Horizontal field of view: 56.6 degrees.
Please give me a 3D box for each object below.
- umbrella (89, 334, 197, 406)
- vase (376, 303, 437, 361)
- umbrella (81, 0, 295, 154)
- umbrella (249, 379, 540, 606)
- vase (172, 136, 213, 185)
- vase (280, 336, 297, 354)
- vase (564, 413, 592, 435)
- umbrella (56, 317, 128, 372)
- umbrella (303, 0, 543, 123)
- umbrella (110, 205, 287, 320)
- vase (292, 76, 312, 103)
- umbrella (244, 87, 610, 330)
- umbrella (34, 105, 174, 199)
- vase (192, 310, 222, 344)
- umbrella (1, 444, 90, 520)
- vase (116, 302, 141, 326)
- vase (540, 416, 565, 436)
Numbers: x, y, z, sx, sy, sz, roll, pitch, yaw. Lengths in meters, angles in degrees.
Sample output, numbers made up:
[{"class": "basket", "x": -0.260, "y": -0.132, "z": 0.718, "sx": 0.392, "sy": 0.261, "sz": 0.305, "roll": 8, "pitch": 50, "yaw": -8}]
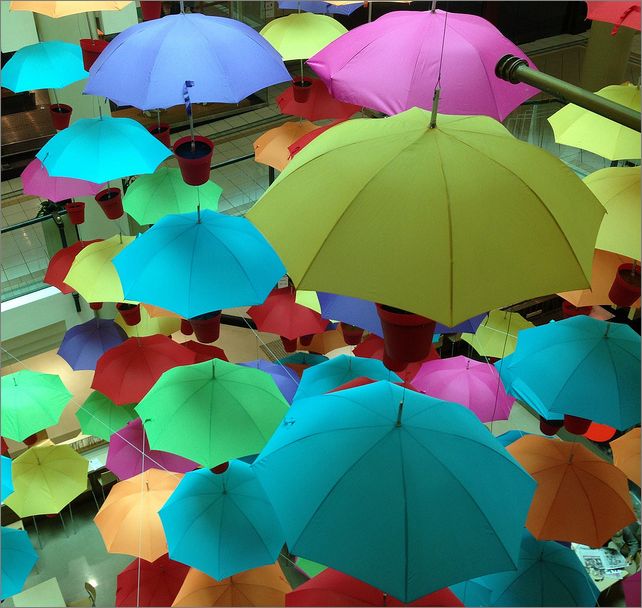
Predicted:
[{"class": "umbrella", "x": -1.758, "y": 0.602, "z": 5.770, "sx": 0.755, "sy": 0.402, "sz": 0.823, "roll": 1, "pitch": 50, "yaw": 11}, {"class": "vase", "x": 0.260, "y": 0.101, "z": 1.953, "sx": 0.178, "sy": 0.149, "sz": 0.178, "roll": 3, "pitch": 16, "yaw": -24}, {"class": "umbrella", "x": -0.803, "y": -1.248, "z": 3.818, "sx": 0.919, "sy": 0.720, "sz": 0.969, "roll": -7, "pitch": 43, "yaw": -6}, {"class": "umbrella", "x": 0.254, "y": 0.880, "z": 2.402, "sx": 0.839, "sy": 0.785, "sz": 0.880, "roll": 25, "pitch": 52, "yaw": 15}, {"class": "vase", "x": -0.788, "y": -0.872, "z": 3.739, "sx": 0.260, "sy": 0.266, "sz": 0.296, "roll": -2, "pitch": 38, "yaw": -4}, {"class": "vase", "x": -0.373, "y": 0.448, "z": 6.930, "sx": 0.195, "sy": 0.233, "sz": 0.212, "roll": -3, "pitch": 44, "yaw": -4}, {"class": "vase", "x": 1.433, "y": 0.687, "z": 3.340, "sx": 0.110, "sy": 0.095, "sz": 0.124, "roll": -5, "pitch": 34, "yaw": -1}, {"class": "umbrella", "x": -2.961, "y": 0.449, "z": 7.691, "sx": 0.731, "sy": 0.418, "sz": 0.786, "roll": 10, "pitch": 48, "yaw": 4}, {"class": "umbrella", "x": 0.472, "y": -1.291, "z": 3.200, "sx": 1.048, "sy": 0.374, "sz": 1.130, "roll": 17, "pitch": 42, "yaw": 10}, {"class": "umbrella", "x": -0.690, "y": -0.259, "z": 3.385, "sx": 0.726, "sy": 0.392, "sz": 0.779, "roll": 5, "pitch": 51, "yaw": 1}, {"class": "vase", "x": -0.198, "y": -2.162, "z": 6.015, "sx": 0.200, "sy": 0.185, "sz": 0.236, "roll": 1, "pitch": 35, "yaw": 1}, {"class": "umbrella", "x": 0.289, "y": -0.186, "z": 1.750, "sx": 0.738, "sy": 0.419, "sz": 0.794, "roll": -3, "pitch": 49, "yaw": -5}, {"class": "umbrella", "x": -1.705, "y": -1.189, "z": 4.773, "sx": 0.702, "sy": 0.274, "sz": 0.767, "roll": 2, "pitch": 49, "yaw": -1}, {"class": "vase", "x": -0.662, "y": 0.134, "z": 3.516, "sx": 0.177, "sy": 0.148, "sz": 0.167, "roll": -19, "pitch": 12, "yaw": -20}, {"class": "umbrella", "x": -3.132, "y": 2.014, "z": 6.808, "sx": 0.688, "sy": 0.560, "sz": 0.893, "roll": -5, "pitch": 10, "yaw": 29}, {"class": "vase", "x": -1.713, "y": 0.079, "z": 5.352, "sx": 0.179, "sy": 0.169, "sz": 0.194, "roll": 18, "pitch": 35, "yaw": 35}, {"class": "vase", "x": 1.418, "y": 0.760, "z": 3.675, "sx": 0.107, "sy": 0.102, "sz": 0.178, "roll": 2, "pitch": 1, "yaw": 2}]
